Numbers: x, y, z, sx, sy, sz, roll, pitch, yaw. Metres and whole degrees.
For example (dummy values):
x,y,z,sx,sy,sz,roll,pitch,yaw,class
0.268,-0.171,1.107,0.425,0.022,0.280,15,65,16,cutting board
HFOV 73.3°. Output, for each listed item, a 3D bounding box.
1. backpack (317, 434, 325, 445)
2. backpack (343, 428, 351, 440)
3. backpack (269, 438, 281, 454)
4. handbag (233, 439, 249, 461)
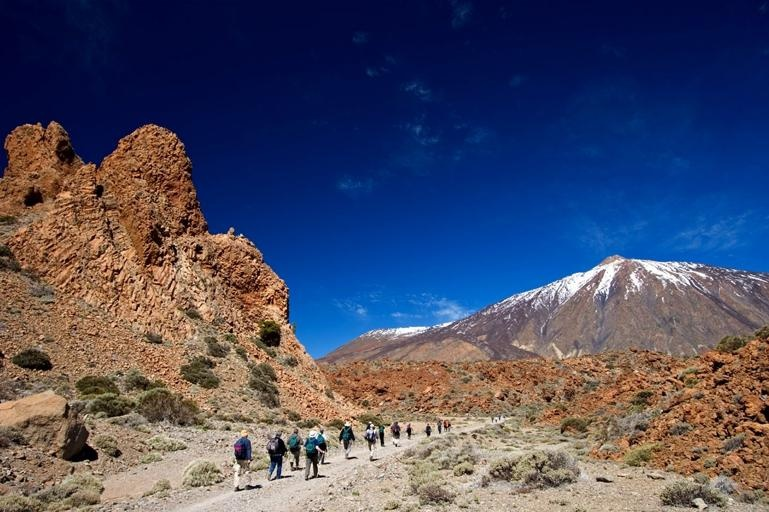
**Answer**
x,y,z,sx,sy,sz,roll,pitch,yaw,class
-4.051,11.704,32.718,0.695,0.350,0.947,5,-12,-9,backpack
-2.583,12.394,35.782,0.603,0.720,0.442,7,-37,-29,backpack
-6.579,11.280,30.665,0.548,0.706,0.478,-3,-33,-16,backpack
-8.130,11.047,29.345,0.784,1.039,0.765,-4,-33,-14,handbag
